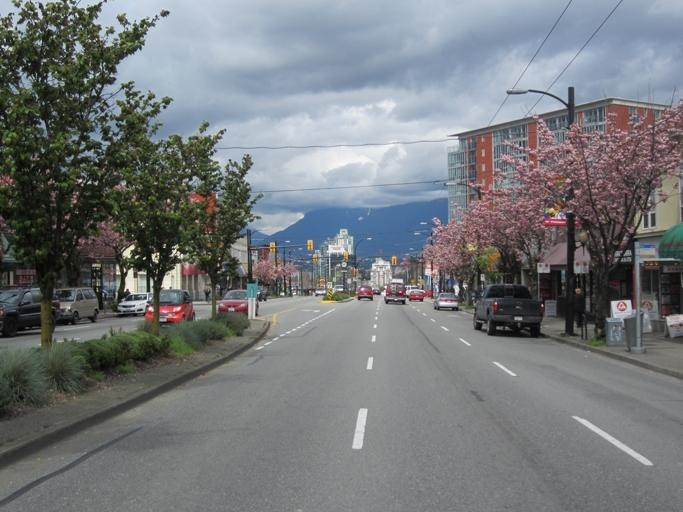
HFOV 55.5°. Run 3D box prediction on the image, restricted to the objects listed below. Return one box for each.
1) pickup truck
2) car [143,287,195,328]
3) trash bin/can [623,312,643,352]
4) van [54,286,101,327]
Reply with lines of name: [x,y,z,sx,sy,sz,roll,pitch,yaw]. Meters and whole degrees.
pickup truck: [7.652,2.462,30.126,2.386,2.308,5.494,2,-2,2]
car: [-7.772,2.321,30.170,1.345,1.656,2.061,-1,-5,4]
trash bin/can: [9.311,2.435,20.714,0.500,1.204,1.072,-2,-4,23]
van: [-15.244,2.818,37.344,1.343,1.837,3.601,0,-2,2]
